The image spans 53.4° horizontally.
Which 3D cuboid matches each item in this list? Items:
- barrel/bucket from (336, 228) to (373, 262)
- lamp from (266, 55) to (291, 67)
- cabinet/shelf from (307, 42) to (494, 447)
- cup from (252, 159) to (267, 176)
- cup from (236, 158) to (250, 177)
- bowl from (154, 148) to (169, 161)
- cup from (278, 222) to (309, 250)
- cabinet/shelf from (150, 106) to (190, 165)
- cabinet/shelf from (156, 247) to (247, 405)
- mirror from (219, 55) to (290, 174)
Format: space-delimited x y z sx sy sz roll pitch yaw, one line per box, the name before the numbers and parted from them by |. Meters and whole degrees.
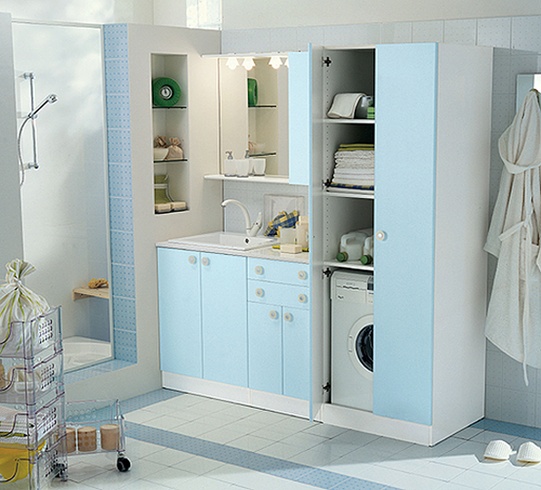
barrel/bucket | 0.525 0.000 3.313 0.137 0.111 0.241 9 20 33
lamp | 0.039 -1.352 3.997 0.105 0.094 0.219 -8 11 -38
cabinet/shelf | 0.874 0.018 3.144 0.888 2.176 0.690 -2 -12 34
cup | -0.095 -0.613 4.237 0.121 0.140 0.123 0 13 0
cup | -0.212 -0.603 4.238 0.118 0.131 0.086 -2 8 -7
bowl | -0.832 -0.685 4.087 0.121 0.095 0.069 -6 9 -32
cup | 0.165 -0.049 3.744 0.214 0.154 0.133 -4 8 -14
cabinet/shelf | -0.812 -0.860 4.202 0.295 0.429 0.282 -6 9 -29
cabinet/shelf | -0.598 0.601 4.131 0.776 0.963 0.623 1 -22 -14
mirror | -0.221 -0.911 4.215 0.557 0.975 0.358 0 9 -23
